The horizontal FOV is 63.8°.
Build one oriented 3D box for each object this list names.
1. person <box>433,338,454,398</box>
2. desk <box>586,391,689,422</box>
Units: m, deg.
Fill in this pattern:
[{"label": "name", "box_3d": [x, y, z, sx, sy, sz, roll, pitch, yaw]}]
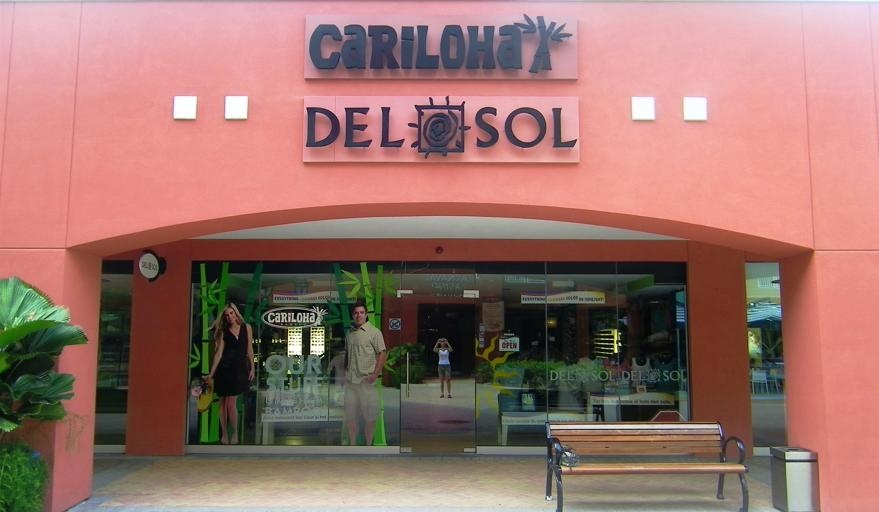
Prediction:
[{"label": "person", "box_3d": [0.082, 2.491, 15.631, 0.390, 1.316, 0.156, 0, 3, 5]}, {"label": "desk", "box_3d": [4.301, 3.328, 15.889, 1.447, 0.480, 0.832, 0, 1, 3]}]
